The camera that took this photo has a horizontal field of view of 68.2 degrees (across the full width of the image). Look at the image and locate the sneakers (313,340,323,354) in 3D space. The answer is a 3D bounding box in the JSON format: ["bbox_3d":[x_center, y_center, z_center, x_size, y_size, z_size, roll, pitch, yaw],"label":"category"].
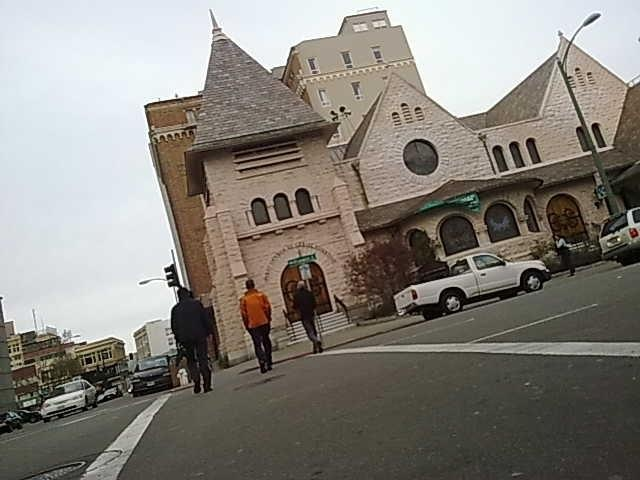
[{"bbox_3d":[-0.035,3.456,15.259,0.220,0.602,0.235,-4,24,-11],"label":"sneakers"}]

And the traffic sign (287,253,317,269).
[{"bbox_3d":[-0.794,1.079,27.232,1.684,0.468,1.761,-11,-8,-21],"label":"traffic sign"}]

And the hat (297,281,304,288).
[{"bbox_3d":[-0.633,1.416,14.954,0.246,0.241,0.175,0,1,0],"label":"hat"}]
